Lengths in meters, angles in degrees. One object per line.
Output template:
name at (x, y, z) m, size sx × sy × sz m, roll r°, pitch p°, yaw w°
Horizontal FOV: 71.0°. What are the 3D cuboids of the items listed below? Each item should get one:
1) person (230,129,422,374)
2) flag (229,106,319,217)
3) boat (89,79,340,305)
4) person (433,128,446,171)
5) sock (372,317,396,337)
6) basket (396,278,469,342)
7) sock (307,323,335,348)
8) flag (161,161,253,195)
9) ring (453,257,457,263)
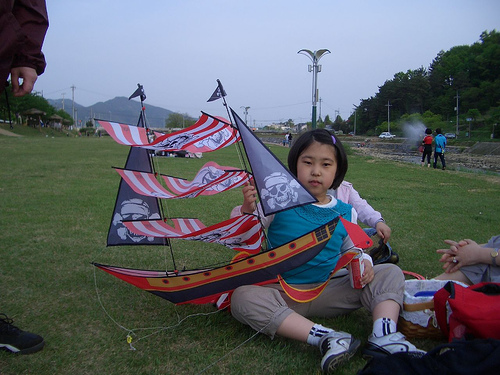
person at (0.612, 0.345, 2.739) m, size 1.092 × 1.659 × 1.499 m, roll -2°, pitch 4°, yaw -9°
flag at (0.148, -0.117, 2.226) m, size 0.539 × 0.527 × 0.231 m, roll 11°, pitch 14°, yaw 37°
boat at (-0.310, 0.021, 2.490) m, size 1.685 × 1.600 × 0.838 m, roll -8°, pitch 8°, yaw -2°
person at (7.599, -1.534, 13.910) m, size 0.473 × 1.594 × 3.112 m, roll 7°, pitch 13°, yaw 28°
sock at (0.859, 0.884, 2.212) m, size 0.103 × 0.094 × 0.089 m, roll -16°, pitch -22°, yaw 39°
basket at (1.234, 0.813, 2.456) m, size 0.380 × 0.394 × 0.531 m, roll -1°, pitch -7°, yaw 9°
sock at (0.441, 0.925, 2.181) m, size 0.137 × 0.107 × 0.105 m, roll 10°, pitch 14°, yaw 36°
flag at (-0.323, -0.064, 2.629) m, size 0.519 × 0.166 × 0.313 m, roll -4°, pitch 15°, yaw -6°
ring at (1.542, 0.547, 2.623) m, size 0.022 × 0.043 × 0.009 m, roll 6°, pitch 11°, yaw 22°
